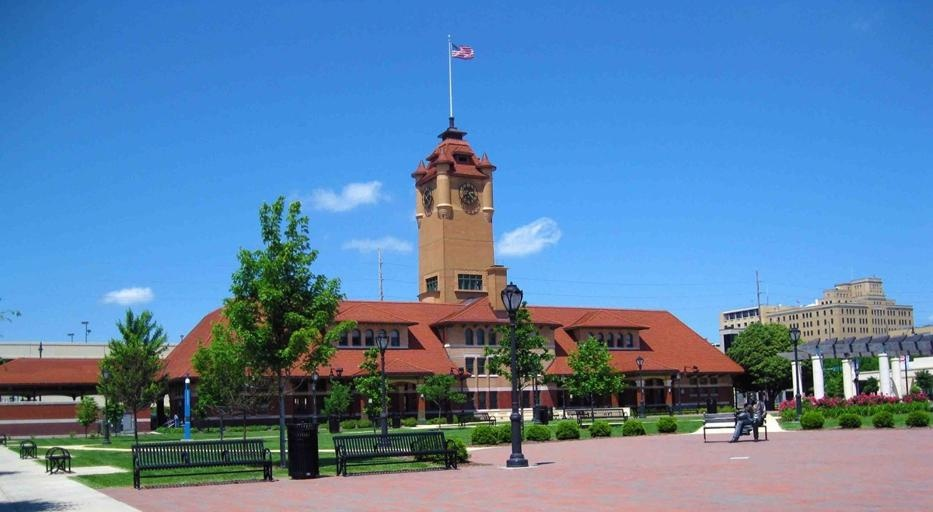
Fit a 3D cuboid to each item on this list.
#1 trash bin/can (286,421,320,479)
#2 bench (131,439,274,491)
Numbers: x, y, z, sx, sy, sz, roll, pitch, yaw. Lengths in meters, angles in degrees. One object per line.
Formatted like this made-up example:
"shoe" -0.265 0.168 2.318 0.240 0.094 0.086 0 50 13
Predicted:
"trash bin/can" -10.601 12.459 79.211 2.015 3.528 1.314 0 -13 -10
"bench" -17.037 13.174 78.588 8.448 2.808 1.794 0 -13 -13
